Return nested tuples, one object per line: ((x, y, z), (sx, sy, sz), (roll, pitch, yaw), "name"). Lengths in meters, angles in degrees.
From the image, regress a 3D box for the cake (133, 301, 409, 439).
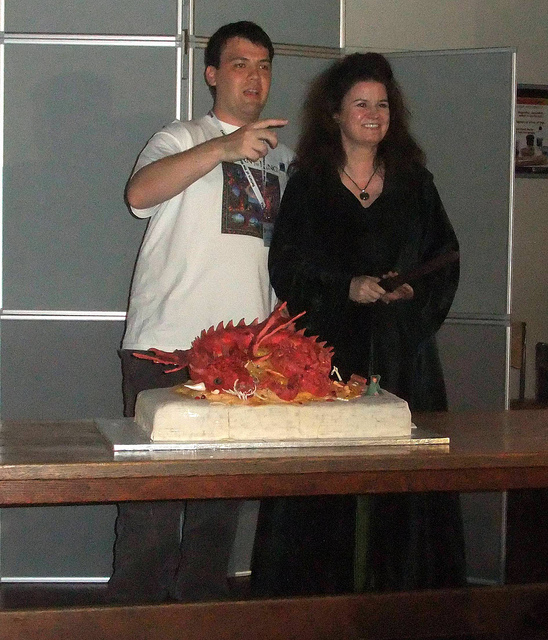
((-0.025, 0.085, 1.848), (0.573, 0.218, 0.276), (1, 20, -26), "cake")

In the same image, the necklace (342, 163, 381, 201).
((0.247, -0.399, 2.697), (0.131, 0.092, 0.005), (-8, -4, -4), "necklace")

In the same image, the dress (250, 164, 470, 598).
((0.249, 0.151, 2.473), (0.535, 1.083, 0.447), (0, 8, -6), "dress")

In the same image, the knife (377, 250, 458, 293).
((0.370, -0.123, 2.295), (0.302, 0.046, 0.043), (-18, -19, -31), "knife")
